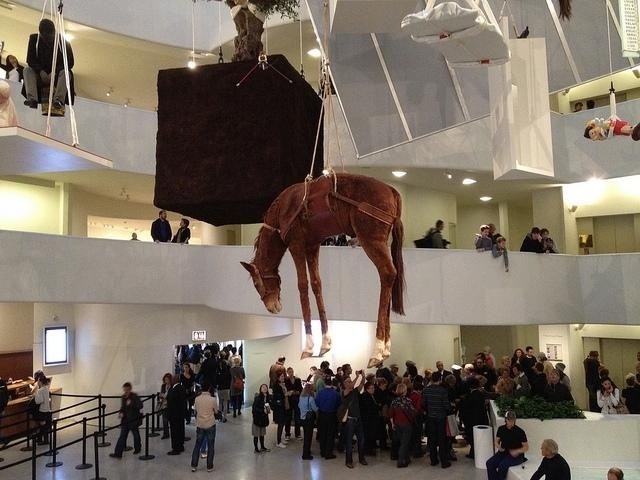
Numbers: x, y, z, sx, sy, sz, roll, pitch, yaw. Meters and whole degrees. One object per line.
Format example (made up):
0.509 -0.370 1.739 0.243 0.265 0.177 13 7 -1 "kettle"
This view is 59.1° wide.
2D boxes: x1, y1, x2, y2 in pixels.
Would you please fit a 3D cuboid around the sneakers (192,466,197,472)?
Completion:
-2.653 4.837 11.900 0.055 0.077 0.187 1 -20 -2 "sneakers"

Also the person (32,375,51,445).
-6.667 4.093 13.538 0.377 1.734 2.130 3 -11 -27 "person"

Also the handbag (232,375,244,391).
-2.371 4.120 16.250 0.404 0.460 0.242 -1 -11 -9 "handbag"

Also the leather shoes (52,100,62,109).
-3.741 -1.915 8.053 0.149 0.071 0.095 5 -12 -36 "leather shoes"

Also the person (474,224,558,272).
4.819 0.255 13.901 2.315 1.177 0.528 3 -10 -27 "person"

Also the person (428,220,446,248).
3.021 -0.142 14.713 0.355 0.973 0.461 -10 18 -11 "person"

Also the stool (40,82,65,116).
-3.842 -1.931 8.110 0.299 0.643 0.141 -1 8 3 "stool"

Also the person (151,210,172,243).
-4.328 -0.132 15.454 0.518 1.396 0.428 4 -25 -23 "person"

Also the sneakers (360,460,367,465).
0.969 4.849 12.244 0.174 0.140 0.062 -16 -15 42 "sneakers"

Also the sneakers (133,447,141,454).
-4.287 4.951 13.215 0.186 0.211 0.093 3 -8 -6 "sneakers"
